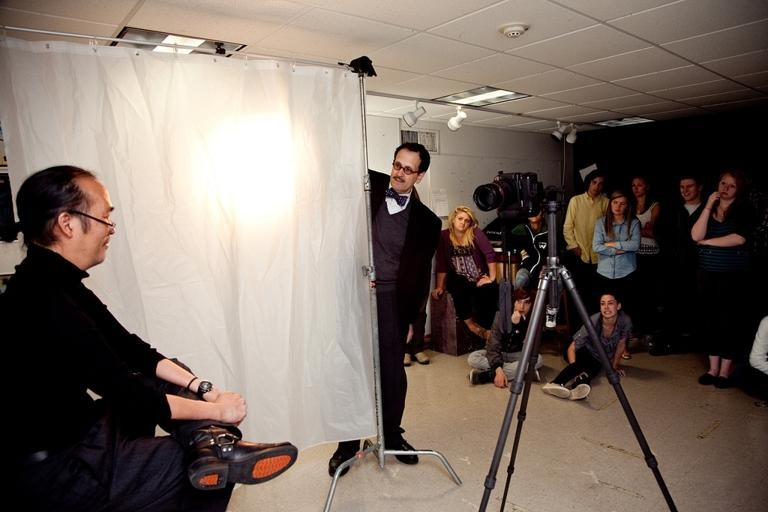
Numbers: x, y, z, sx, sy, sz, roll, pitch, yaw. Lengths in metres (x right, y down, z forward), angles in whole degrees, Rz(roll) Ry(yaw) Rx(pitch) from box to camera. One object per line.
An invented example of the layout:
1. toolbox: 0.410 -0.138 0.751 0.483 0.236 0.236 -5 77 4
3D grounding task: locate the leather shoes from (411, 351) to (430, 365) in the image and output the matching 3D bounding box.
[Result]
1. leather shoes: 0.413 1.111 5.586 0.094 0.078 0.193 0 -5 -31

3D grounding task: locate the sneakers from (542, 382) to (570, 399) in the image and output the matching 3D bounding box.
1. sneakers: 1.532 1.187 4.560 0.084 0.089 0.210 -13 11 -40

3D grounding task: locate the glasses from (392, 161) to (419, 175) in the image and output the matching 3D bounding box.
1. glasses: 0.148 -0.578 3.366 0.168 0.087 0.073 0 13 1

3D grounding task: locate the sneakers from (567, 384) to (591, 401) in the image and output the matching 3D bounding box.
1. sneakers: 1.701 1.171 4.461 0.089 0.095 0.225 -1 -18 -39

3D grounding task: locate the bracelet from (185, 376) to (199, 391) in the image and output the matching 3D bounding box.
1. bracelet: -0.863 0.568 2.311 0.033 0.055 0.018 9 -23 8

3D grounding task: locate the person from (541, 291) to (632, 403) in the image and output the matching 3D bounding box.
1. person: 1.949 0.814 5.027 0.669 0.888 1.486 -2 3 33

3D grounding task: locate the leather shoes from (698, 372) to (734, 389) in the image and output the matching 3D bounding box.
1. leather shoes: 3.021 1.127 4.686 0.258 0.093 0.096 5 14 43

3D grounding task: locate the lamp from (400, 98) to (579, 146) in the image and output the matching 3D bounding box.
1. lamp: 1.487 -1.631 6.336 1.019 0.424 3.863 10 16 39

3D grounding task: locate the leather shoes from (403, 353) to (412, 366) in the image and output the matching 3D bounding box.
1. leather shoes: 0.258 1.084 5.460 0.117 0.133 0.345 -1 -6 9

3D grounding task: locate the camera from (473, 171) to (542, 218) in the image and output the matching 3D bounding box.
1. camera: 0.741 -0.385 3.112 0.374 0.242 0.351 -6 10 -2

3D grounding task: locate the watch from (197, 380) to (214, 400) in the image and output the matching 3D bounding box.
1. watch: -0.788 0.598 2.326 0.058 0.075 0.079 11 6 12

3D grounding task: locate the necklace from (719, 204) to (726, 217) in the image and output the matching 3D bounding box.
1. necklace: 2.986 -0.397 4.557 0.064 0.083 0.085 2 2 16

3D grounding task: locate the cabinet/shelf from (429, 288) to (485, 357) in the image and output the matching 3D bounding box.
1. cabinet/shelf: 0.855 0.730 5.772 0.768 0.730 0.416 -5 8 -43

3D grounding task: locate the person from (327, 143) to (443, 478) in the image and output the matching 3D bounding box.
1. person: 0.109 0.358 3.524 0.382 2.210 0.681 3 14 17

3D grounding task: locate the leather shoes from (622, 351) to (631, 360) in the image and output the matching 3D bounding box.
1. leather shoes: 2.588 1.053 5.482 0.070 0.085 0.205 -3 -9 5

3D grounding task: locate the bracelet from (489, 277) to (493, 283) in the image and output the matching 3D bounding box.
1. bracelet: 1.194 0.258 5.713 0.037 0.051 0.018 -1 -10 4

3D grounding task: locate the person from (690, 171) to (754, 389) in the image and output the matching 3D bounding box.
1. person: 3.016 0.208 4.633 0.407 1.901 0.507 -13 18 -43
